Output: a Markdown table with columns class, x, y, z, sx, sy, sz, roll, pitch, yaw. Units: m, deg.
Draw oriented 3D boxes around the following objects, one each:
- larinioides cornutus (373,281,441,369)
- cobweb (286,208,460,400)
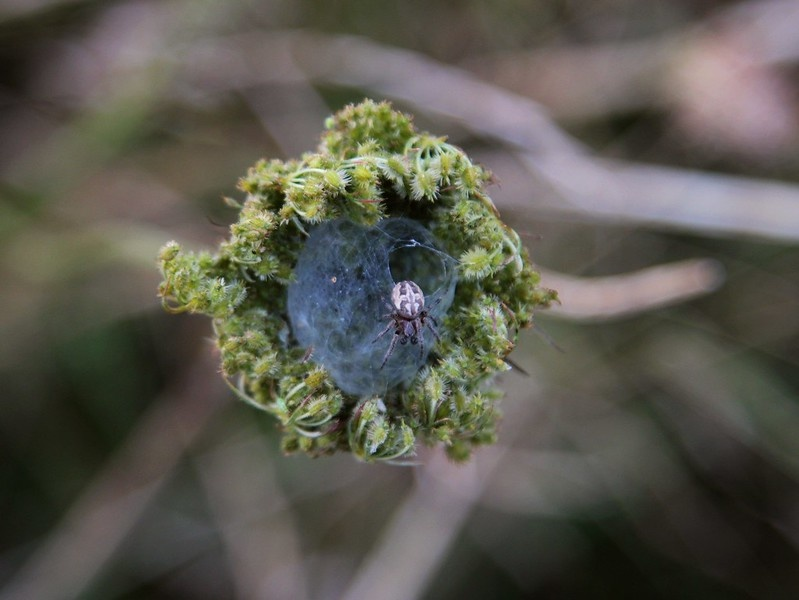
| class | x | y | z | sx | sy | sz | roll | pitch | yaw |
| --- | --- | --- | --- | --- | --- | --- | --- | --- | --- |
| larinioides cornutus | 0.031 | 0.061 | 3.474 | 0.238 | 0.372 | 0.106 | -2 | 12 | 2 |
| cobweb | -0.132 | -0.065 | 3.613 | 0.690 | 0.838 | 0.284 | -19 | 23 | 4 |
